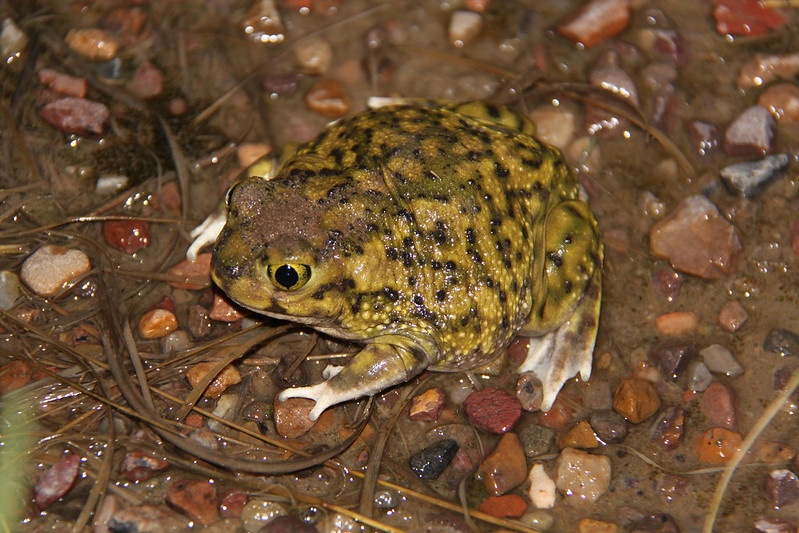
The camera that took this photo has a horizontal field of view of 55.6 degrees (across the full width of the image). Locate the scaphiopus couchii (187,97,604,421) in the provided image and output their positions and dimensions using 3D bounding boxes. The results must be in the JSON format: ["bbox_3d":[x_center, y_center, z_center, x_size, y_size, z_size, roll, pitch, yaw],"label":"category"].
[{"bbox_3d":[0.040,-0.059,5.565,2.681,1.430,1.758,-6,57,-19],"label":"scaphiopus couchii"}]
